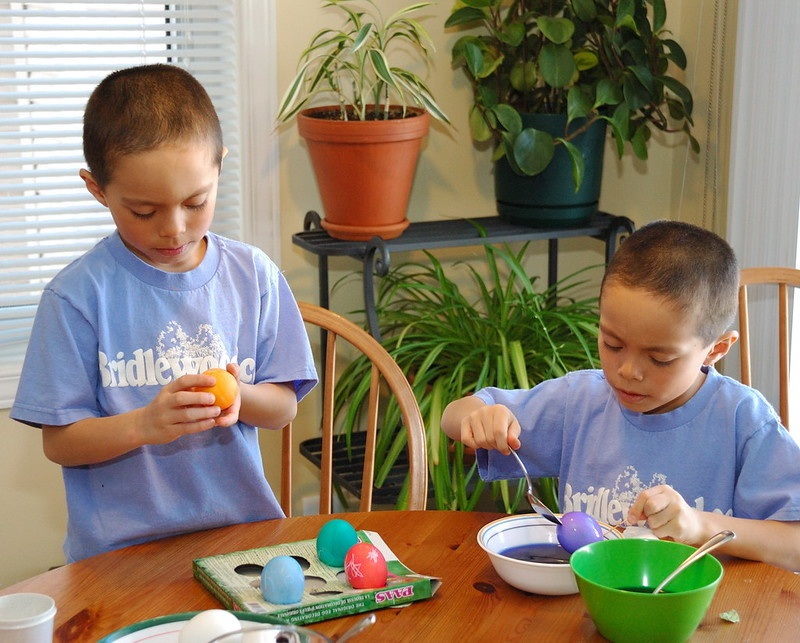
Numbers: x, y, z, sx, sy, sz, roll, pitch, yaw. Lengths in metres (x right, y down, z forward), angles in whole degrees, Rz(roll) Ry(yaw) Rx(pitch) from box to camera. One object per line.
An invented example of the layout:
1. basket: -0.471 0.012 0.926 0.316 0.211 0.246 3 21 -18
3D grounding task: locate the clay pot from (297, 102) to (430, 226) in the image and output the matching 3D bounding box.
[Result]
1. clay pot: -0.105 -0.476 2.103 0.399 0.364 0.418 0 26 0

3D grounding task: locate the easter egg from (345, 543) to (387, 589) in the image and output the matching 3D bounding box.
1. easter egg: -0.042 0.306 0.853 0.055 0.047 0.051 0 10 6

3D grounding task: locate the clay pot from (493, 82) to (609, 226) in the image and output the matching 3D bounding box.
1. clay pot: 0.478 -0.508 2.167 0.330 0.370 0.371 0 5 -3

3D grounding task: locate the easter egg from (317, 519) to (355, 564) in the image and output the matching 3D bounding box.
1. easter egg: -0.088 0.301 0.929 0.053 0.070 0.056 2 -2 3

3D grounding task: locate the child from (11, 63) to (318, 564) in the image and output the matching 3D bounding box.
1. child: -0.379 -0.011 1.174 0.383 0.827 0.437 2 10 18

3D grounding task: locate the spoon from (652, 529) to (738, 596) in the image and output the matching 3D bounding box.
1. spoon: 0.353 0.290 0.822 0.117 0.023 0.016 -43 14 15

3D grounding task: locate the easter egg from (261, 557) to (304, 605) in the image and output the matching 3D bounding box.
1. easter egg: -0.140 0.316 0.823 0.052 0.069 0.055 2 -7 -5
